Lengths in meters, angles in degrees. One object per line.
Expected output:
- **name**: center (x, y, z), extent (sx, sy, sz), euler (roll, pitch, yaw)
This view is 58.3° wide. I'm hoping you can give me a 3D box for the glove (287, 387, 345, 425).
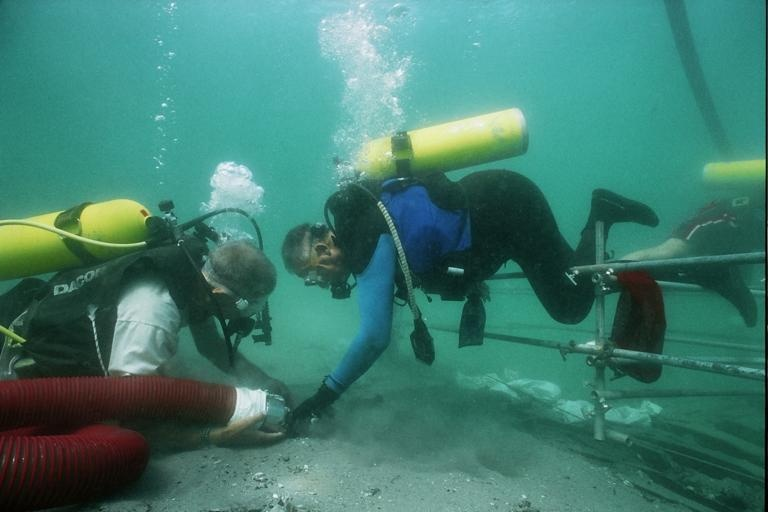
- **glove**: center (-1.246, 2.642, 12.052), extent (0.997, 0.284, 0.533), euler (-32, 6, -19)
